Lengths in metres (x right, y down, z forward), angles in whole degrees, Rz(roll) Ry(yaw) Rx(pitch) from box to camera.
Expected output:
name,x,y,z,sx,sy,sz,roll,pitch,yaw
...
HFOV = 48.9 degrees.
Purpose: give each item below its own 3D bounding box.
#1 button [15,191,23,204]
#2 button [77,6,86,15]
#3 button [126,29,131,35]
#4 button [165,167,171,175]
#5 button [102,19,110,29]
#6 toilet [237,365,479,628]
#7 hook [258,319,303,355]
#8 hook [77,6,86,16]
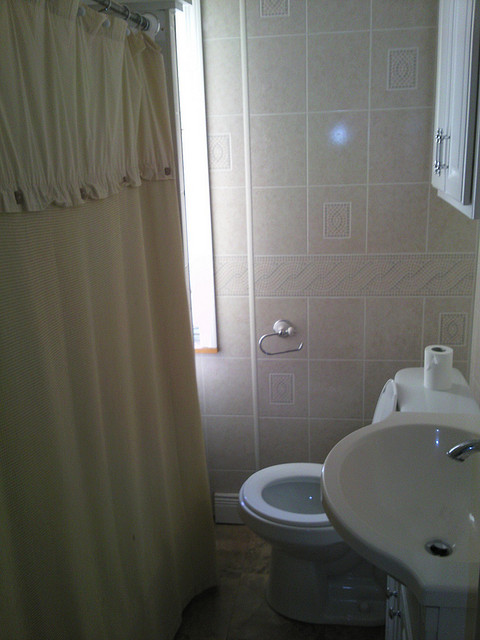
name,x,y,z,sx,sy,sz,roll,pitch,yaw
button,-0.350,-0.193,0.836,0.005,0.018,0.015,4,6,15
button,-0.301,-0.585,0.999,0.019,0.023,0.007,0,1,2
button,-0.267,-0.687,1.263,0.014,0.015,0.015,-5,34,-12
button,-0.202,-0.418,1.484,0.015,0.018,0.006,0,0,11
button,-0.280,-0.619,1.106,0.016,0.017,0.011,-21,28,-38
toilet,0.446,0.493,2.049,0.803,1.033,0.687,3,19,10
hook,0.152,0.055,2.097,0.129,0.152,0.108,-1,18,1
hook,-0.301,-0.585,1.000,0.017,0.019,0.004,-1,11,-17
